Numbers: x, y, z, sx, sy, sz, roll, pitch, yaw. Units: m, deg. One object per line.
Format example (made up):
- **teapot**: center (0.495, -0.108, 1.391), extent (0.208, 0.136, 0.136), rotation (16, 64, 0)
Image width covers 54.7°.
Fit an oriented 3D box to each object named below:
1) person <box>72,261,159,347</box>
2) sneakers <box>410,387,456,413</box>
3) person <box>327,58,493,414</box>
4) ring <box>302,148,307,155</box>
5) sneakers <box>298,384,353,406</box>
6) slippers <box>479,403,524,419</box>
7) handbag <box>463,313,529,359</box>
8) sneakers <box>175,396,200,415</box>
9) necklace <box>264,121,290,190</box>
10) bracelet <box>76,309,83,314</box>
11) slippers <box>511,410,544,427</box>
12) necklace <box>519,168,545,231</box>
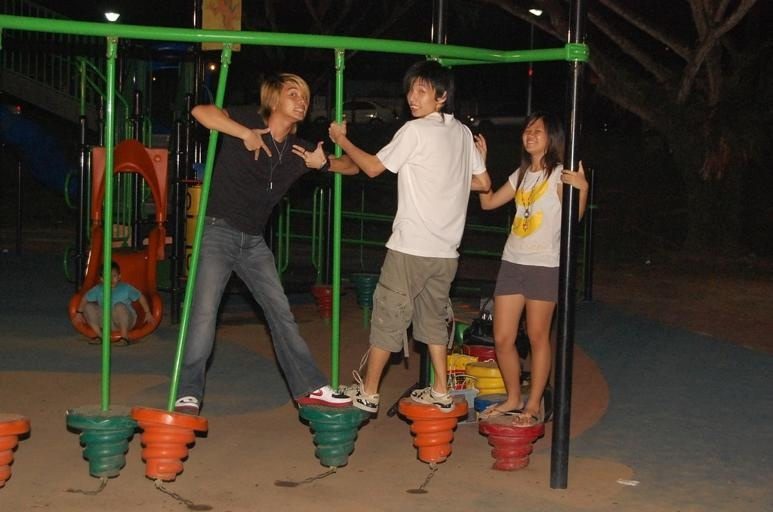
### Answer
- **person**: center (-3.521, 0.663, 9.723), extent (1.057, 1.042, 0.680), rotation (-3, -12, -11)
- **sneakers**: center (0.400, 1.223, 6.486), extent (0.398, 0.163, 0.168), rotation (11, 4, 15)
- **person**: center (0.228, -0.146, 6.464), extent (1.336, 3.044, 0.742), rotation (-1, 10, -13)
- **ring**: center (-0.719, -0.900, 6.441), extent (0.048, 0.043, 0.015), rotation (-21, -8, -22)
- **sneakers**: center (-0.522, 1.198, 6.462), extent (0.494, 0.188, 0.176), rotation (-1, -3, 7)
- **slippers**: center (1.052, 1.460, 7.028), extent (0.308, 0.076, 0.178), rotation (2, 7, 6)
- **handbag**: center (1.104, 0.877, 8.208), extent (0.458, 0.670, 0.719), rotation (1, -12, -6)
- **sneakers**: center (-1.680, 1.257, 6.278), extent (0.205, 0.137, 0.194), rotation (-1, 10, -16)
- **necklace**: center (-0.953, -0.807, 6.421), extent (0.271, 0.467, 0.112), rotation (11, 9, 32)
- **bracelet**: center (-4.157, 0.739, 10.045), extent (0.091, 0.027, 0.091), rotation (8, 10, 36)
- **slippers**: center (1.251, 1.460, 6.739), extent (0.279, 0.079, 0.289), rotation (3, 9, 7)
- **necklace**: center (1.312, -0.450, 6.828), extent (0.110, 0.440, 0.267), rotation (0, 14, -21)
